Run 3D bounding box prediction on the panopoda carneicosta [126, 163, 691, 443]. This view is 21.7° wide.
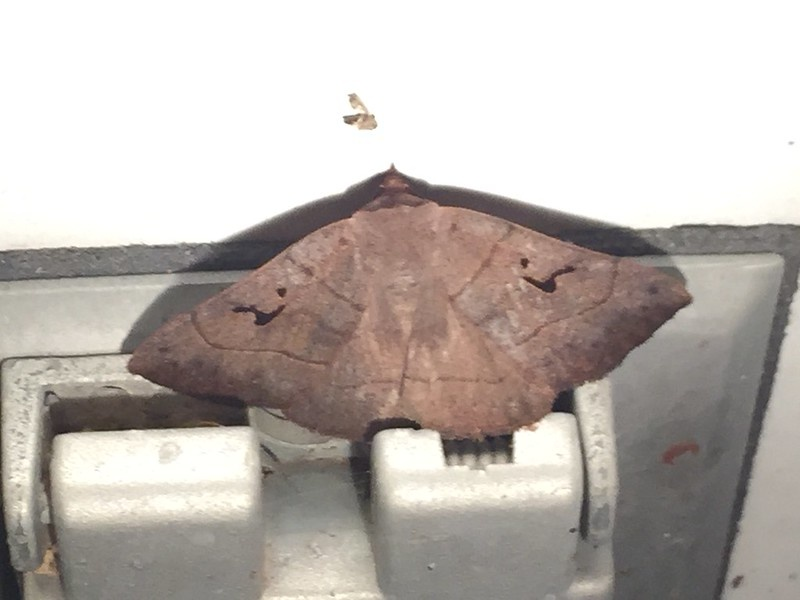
[{"bbox_3d":[0.005,0.006,3.079,0.885,0.393,0.058,-6,-1,27],"label":"panopoda carneicosta"}]
